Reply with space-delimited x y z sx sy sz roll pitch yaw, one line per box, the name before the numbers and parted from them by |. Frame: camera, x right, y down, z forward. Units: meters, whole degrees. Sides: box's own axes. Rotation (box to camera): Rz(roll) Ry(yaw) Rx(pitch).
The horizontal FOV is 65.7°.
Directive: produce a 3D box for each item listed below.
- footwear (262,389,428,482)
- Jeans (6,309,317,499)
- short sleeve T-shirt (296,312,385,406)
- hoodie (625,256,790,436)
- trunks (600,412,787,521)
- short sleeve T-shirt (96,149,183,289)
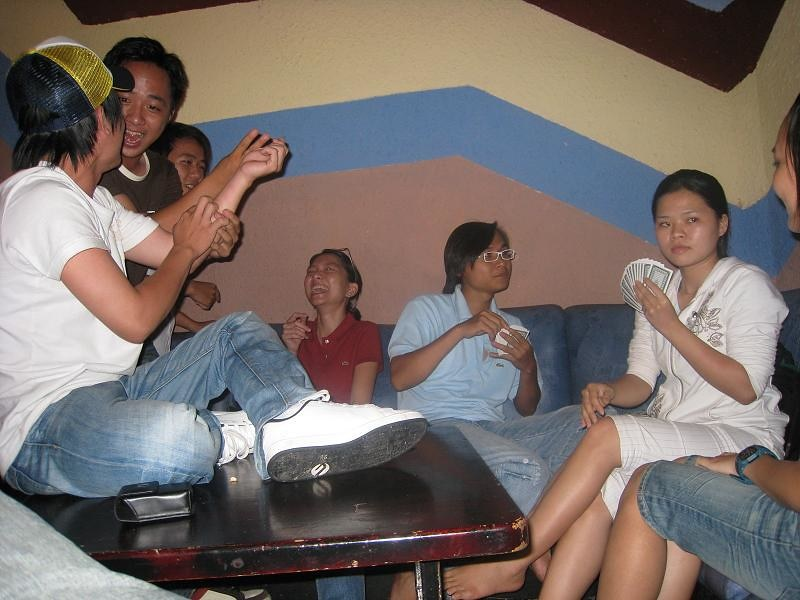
footwear | -0.087 0.278 1.411 0.420 0.150 0.193 -7 36 -15
Jeans | -0.545 0.254 1.407 0.517 0.198 0.442 1 14 0
short sleeve T-shirt | -0.243 0.213 2.321 0.315 0.336 0.187 3 9 21
hoodie | 0.868 0.135 1.736 0.255 0.430 0.381 6 -21 -24
trunks | 0.722 0.480 1.574 0.249 0.187 0.465 -6 -22 -38
short sleeve T-shirt | -0.927 -0.354 2.321 0.172 0.479 0.379 -37 29 -16
